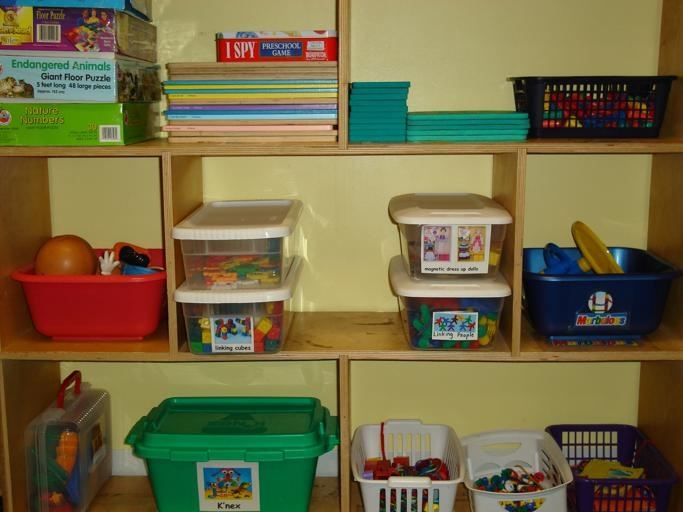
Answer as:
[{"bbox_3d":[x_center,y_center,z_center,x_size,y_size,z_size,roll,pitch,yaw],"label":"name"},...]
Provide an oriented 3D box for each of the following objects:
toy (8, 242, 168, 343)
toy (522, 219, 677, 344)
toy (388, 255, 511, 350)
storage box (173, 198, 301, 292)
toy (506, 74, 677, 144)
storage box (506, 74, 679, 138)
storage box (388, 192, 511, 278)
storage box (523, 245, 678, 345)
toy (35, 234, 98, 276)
[{"bbox_3d":[-0.729,0.112,1.853,0.314,0.141,0.254,1,3,-5],"label":"toy"},{"bbox_3d":[0.742,0.075,1.988,0.454,0.349,0.349,0,1,3],"label":"toy"},{"bbox_3d":[0.313,0.134,1.843,0.264,0.150,0.225,-1,10,1],"label":"toy"},{"bbox_3d":[-0.300,-0.047,1.918,0.341,0.218,0.396,0,11,3],"label":"storage box"},{"bbox_3d":[0.743,-0.391,1.798,0.316,0.116,0.221,0,8,2],"label":"toy"},{"bbox_3d":[0.728,-0.410,1.859,0.313,0.117,0.220,0,9,2],"label":"storage box"},{"bbox_3d":[0.321,-0.068,1.908,0.346,0.214,0.296,0,11,3],"label":"storage box"},{"bbox_3d":[0.775,0.103,1.963,0.455,0.267,0.335,1,11,8],"label":"storage box"},{"bbox_3d":[-0.829,0.004,1.896,0.153,0.136,0.135,-2,50,-24],"label":"toy"}]
